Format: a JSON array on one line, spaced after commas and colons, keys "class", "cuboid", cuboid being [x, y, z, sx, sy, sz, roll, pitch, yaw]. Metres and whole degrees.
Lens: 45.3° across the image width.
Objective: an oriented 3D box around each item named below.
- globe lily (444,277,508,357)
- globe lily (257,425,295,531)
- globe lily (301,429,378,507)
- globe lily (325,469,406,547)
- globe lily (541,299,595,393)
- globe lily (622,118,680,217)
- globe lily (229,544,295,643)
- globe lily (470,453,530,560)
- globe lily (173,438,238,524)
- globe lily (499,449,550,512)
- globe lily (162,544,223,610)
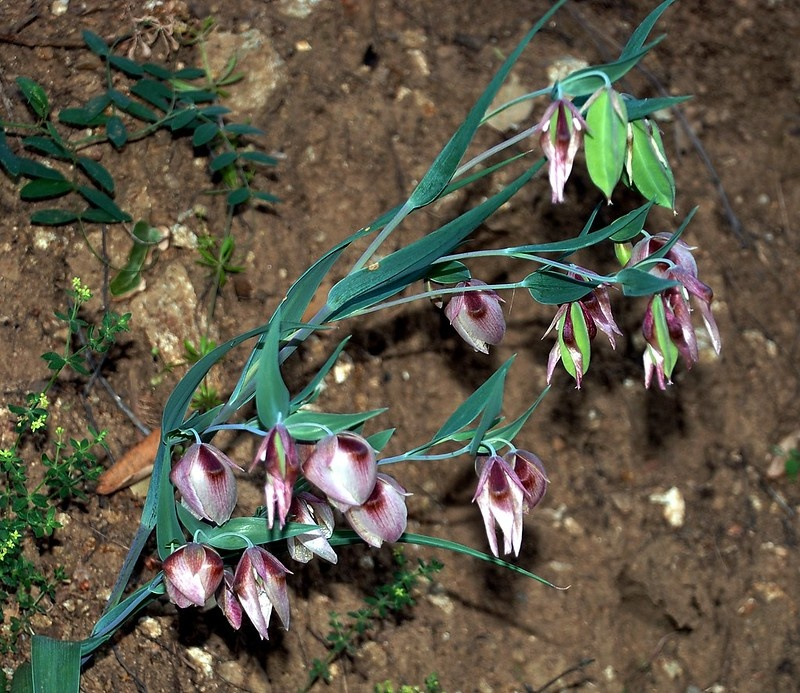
[{"class": "globe lily", "cuboid": [0.197, -0.070, 2.339, 0.146, 0.065, 0.167, 31, 42, 10]}, {"class": "globe lily", "cuboid": [-0.240, 0.245, 1.986, 0.065, 0.226, 0.060, 12, 32, 18]}, {"class": "globe lily", "cuboid": [-0.131, 0.262, 2.090, 0.145, 0.131, 0.133, 17, 39, 11]}, {"class": "globe lily", "cuboid": [-0.063, 0.357, 2.102, 0.170, 0.138, 0.060, 44, 22, 11]}, {"class": "globe lily", "cuboid": [0.421, -0.003, 2.442, 0.122, 0.286, 0.103, 6, 35, 10]}, {"class": "globe lily", "cuboid": [0.553, -0.380, 2.149, 0.094, 0.070, 0.222, -15, 94, -11]}, {"class": "globe lily", "cuboid": [-0.308, 0.537, 2.138, 0.133, 0.087, 0.201, -23, 81, 3]}, {"class": "globe lily", "cuboid": [0.216, 0.346, 2.088, 0.110, 0.064, 0.199, 12, 68, -1]}, {"class": "globe lily", "cuboid": [-0.451, 0.324, 2.207, 0.136, 0.097, 0.193, -14, 84, -24]}, {"class": "globe lily", "cuboid": [0.253, 0.293, 2.110, 0.142, 0.063, 0.190, 3, 26, -2]}, {"class": "globe lily", "cuboid": [-0.481, 0.529, 2.204, 0.138, 0.168, 0.176, -3, 100, -20]}]
